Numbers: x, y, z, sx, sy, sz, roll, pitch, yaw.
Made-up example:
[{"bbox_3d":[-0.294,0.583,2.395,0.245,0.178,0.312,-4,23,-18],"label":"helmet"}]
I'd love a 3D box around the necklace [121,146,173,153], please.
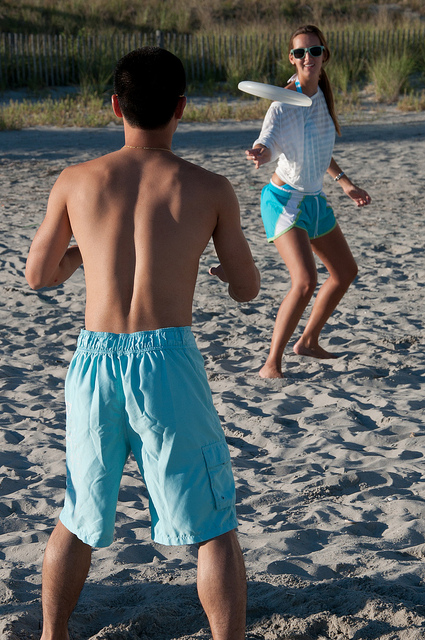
[{"bbox_3d":[-0.173,-0.442,1.983,0.102,0.006,0.014,8,23,1],"label":"necklace"}]

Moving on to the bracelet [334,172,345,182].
[{"bbox_3d":[0.733,-0.830,4.420,0.072,0.018,0.069,-37,2,37],"label":"bracelet"}]

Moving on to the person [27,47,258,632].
[{"bbox_3d":[-0.183,0.047,1.981,0.700,1.476,0.547,6,13,5],"label":"person"}]

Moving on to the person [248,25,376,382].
[{"bbox_3d":[0.466,-0.577,4.057,0.456,1.921,1.034,12,14,28],"label":"person"}]

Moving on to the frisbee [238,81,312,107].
[{"bbox_3d":[0.271,-0.988,3.333,0.285,0.093,0.287,-6,15,-43],"label":"frisbee"}]
